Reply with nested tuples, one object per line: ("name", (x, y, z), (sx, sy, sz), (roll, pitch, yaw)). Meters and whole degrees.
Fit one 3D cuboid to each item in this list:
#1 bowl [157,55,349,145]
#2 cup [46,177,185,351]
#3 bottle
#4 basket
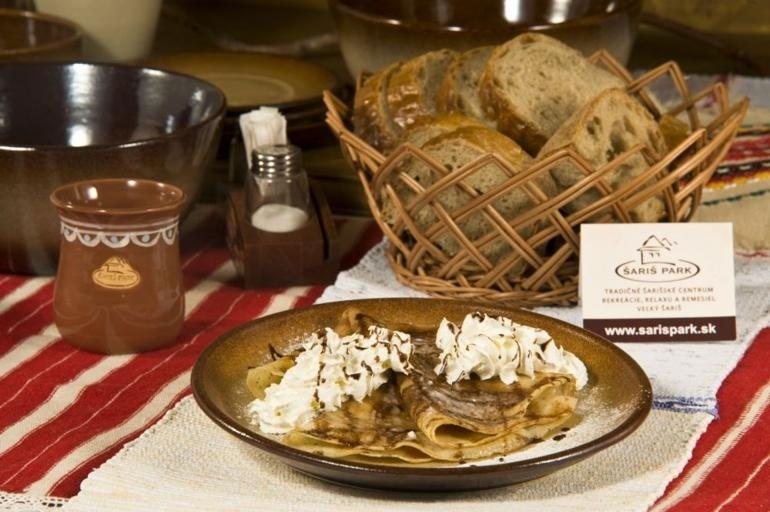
("bowl", (-0.244, -0.312, 1.364), (0.246, 0.040, 0.232), (5, 27, -3))
("cup", (-0.336, 0.017, 0.913), (0.144, 0.210, 0.138), (-2, 34, 1))
("bottle", (-0.184, -0.105, 1.127), (0.127, 0.123, 0.121), (0, 5, -35))
("basket", (0.251, -0.085, 1.000), (0.441, 0.167, 0.425), (-15, 21, -33))
